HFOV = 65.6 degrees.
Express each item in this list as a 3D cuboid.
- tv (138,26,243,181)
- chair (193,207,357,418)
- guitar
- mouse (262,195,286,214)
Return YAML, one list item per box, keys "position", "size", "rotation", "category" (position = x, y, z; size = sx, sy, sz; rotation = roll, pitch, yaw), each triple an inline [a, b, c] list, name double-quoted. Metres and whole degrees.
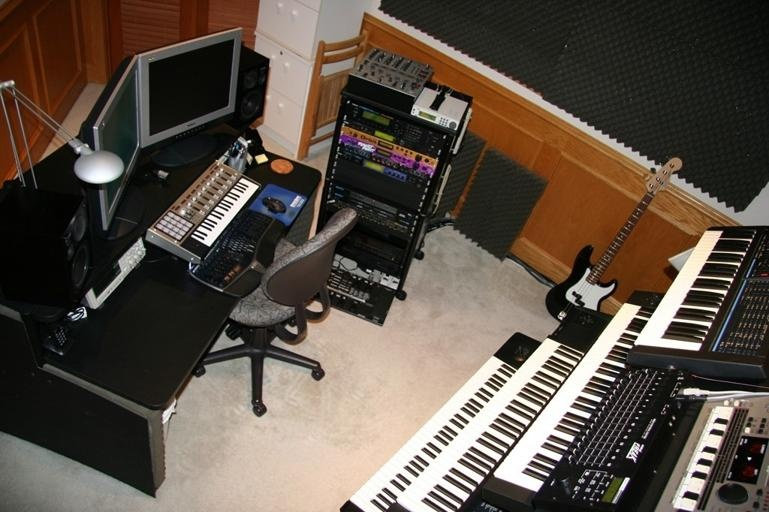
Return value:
- position: [-1.292, -0.985, 4.029]
  size: [0.090, 0.789, 1.081]
  rotation: [31, 36, 18]
  category: "tv"
- position: [-0.811, 0.454, 4.248]
  size: [0.839, 0.818, 1.157]
  rotation: [34, -39, 1]
  category: "chair"
- position: [1.958, -0.028, 5.160]
  size: [0.622, 1.853, 0.191]
  rotation: [40, 41, 26]
  category: "guitar"
- position: [-0.770, -0.362, 4.220]
  size: [0.143, 0.102, 0.051]
  rotation: [34, -23, 5]
  category: "mouse"
